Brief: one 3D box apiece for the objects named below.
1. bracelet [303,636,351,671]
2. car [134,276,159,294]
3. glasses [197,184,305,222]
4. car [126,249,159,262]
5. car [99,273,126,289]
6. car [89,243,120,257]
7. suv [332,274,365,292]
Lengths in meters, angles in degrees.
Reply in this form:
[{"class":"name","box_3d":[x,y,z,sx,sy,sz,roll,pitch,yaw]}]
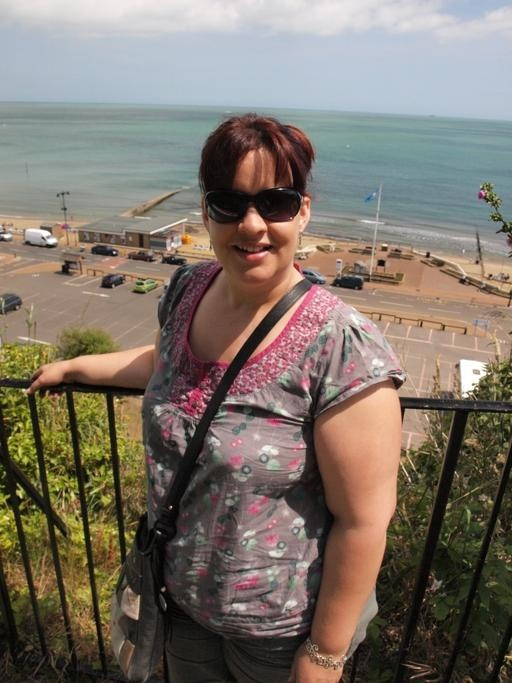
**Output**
[{"class":"bracelet","box_3d":[0.188,0.822,1.377,0.079,0.036,0.088,15,-6,6]},{"class":"car","box_3d":[-8.330,-4.200,39.159,1.024,0.728,1.747,11,31,22]},{"class":"glasses","box_3d":[-0.008,-0.362,1.370,0.252,0.101,0.093,2,16,-3]},{"class":"car","box_3d":[-10.589,-7.893,47.586,2.602,0.777,1.516,14,30,15]},{"class":"car","box_3d":[-11.124,-4.684,40.266,1.044,0.819,1.895,12,32,28]},{"class":"car","box_3d":[-14.375,-8.621,48.726,2.245,0.961,1.331,-1,25,2]},{"class":"suv","box_3d":[7.845,-5.070,43.737,2.328,1.057,1.372,11,35,8]}]
